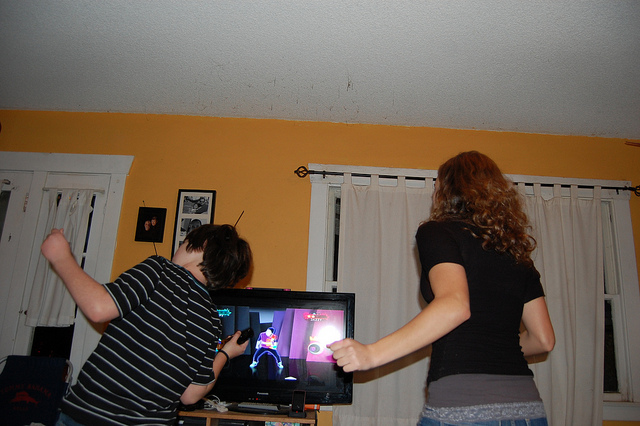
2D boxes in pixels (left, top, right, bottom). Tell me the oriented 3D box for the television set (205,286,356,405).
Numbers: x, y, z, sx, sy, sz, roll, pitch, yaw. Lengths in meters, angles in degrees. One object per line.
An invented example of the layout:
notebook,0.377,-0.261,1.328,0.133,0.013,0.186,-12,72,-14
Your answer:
television set,-0.279,1.020,3.635,1.162,0.778,0.150,2,-22,4

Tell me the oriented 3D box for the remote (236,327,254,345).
remote,-0.475,0.779,3.114,0.102,0.026,0.056,-32,30,-30

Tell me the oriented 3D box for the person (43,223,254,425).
person,-1.097,0.772,3.153,0.880,1.322,0.462,50,-12,-33

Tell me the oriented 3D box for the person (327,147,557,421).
person,0.757,0.350,2.577,1.113,1.448,0.362,8,-13,-28
